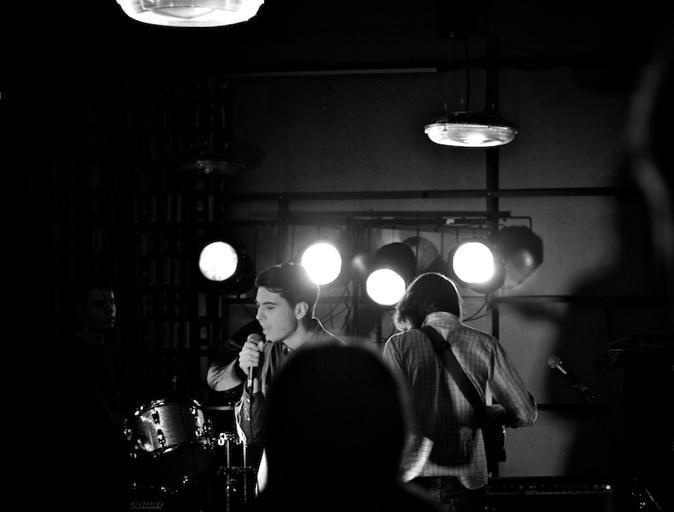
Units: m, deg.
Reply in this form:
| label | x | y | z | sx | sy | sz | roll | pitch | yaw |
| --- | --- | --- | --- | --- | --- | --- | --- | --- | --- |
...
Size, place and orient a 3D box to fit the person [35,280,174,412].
| label | x | y | z | sx | sy | sz | roll | pitch | yaw |
| --- | --- | --- | --- | --- | --- | --- | --- | --- | --- |
| person | -1.858 | 0.723 | 7.131 | 1.103 | 1.326 | 0.878 | -5 | -6 | 13 |

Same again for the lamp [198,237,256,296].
| label | x | y | z | sx | sy | sz | roll | pitch | yaw |
| --- | --- | --- | --- | --- | --- | --- | --- | --- | --- |
| lamp | -0.979 | 0.117 | 8.315 | 0.409 | 0.489 | 0.451 | 2 | -6 | 1 |

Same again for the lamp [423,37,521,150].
| label | x | y | z | sx | sy | sz | roll | pitch | yaw |
| --- | --- | --- | --- | --- | --- | --- | --- | --- | --- |
| lamp | 1.140 | -1.392 | 7.692 | 0.764 | 0.853 | 0.770 | -2 | 6 | -17 |

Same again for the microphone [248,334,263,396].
| label | x | y | z | sx | sy | sz | roll | pitch | yaw |
| --- | --- | --- | --- | --- | --- | --- | --- | --- | --- |
| microphone | -0.589 | 0.800 | 6.690 | 0.102 | 0.428 | 0.111 | 6 | -16 | 3 |

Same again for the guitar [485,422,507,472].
| label | x | y | z | sx | sy | sz | roll | pitch | yaw |
| --- | --- | --- | --- | --- | --- | --- | --- | --- | --- |
| guitar | 1.163 | 1.390 | 6.662 | 0.124 | 0.161 | 0.541 | -23 | 12 | 21 |

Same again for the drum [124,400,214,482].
| label | x | y | z | sx | sy | sz | roll | pitch | yaw |
| --- | --- | --- | --- | --- | --- | --- | --- | --- | --- |
| drum | -1.281 | 1.483 | 7.382 | 0.608 | 0.468 | 0.633 | -9 | -39 | -7 |
